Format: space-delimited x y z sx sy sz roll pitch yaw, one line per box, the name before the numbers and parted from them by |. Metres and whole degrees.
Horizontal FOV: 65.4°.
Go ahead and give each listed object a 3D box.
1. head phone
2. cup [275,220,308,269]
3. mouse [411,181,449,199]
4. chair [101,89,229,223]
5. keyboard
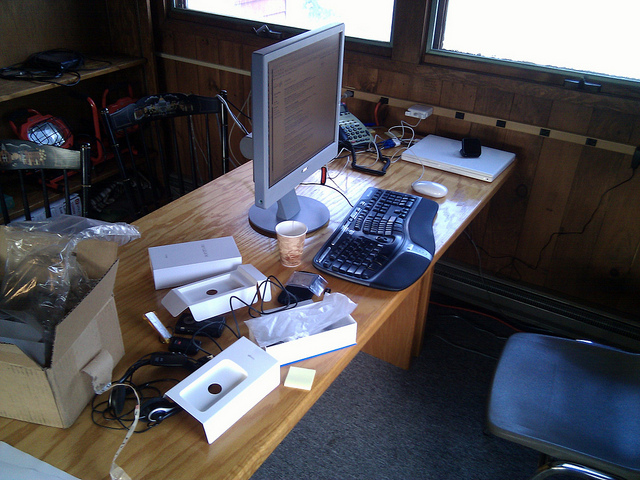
head phone | -0.392 0.357 1.196 0.175 0.054 0.132 -40 37 -26
cup | -0.095 0.027 1.564 0.106 0.133 0.105 2 -6 0
mouse | 0.433 -0.202 1.898 0.096 0.032 0.072 20 45 27
chair | -0.827 -0.455 2.618 0.423 0.729 0.466 -27 72 -23
keyboard | 0.210 -0.041 1.638 0.304 0.493 0.058 18 54 2
